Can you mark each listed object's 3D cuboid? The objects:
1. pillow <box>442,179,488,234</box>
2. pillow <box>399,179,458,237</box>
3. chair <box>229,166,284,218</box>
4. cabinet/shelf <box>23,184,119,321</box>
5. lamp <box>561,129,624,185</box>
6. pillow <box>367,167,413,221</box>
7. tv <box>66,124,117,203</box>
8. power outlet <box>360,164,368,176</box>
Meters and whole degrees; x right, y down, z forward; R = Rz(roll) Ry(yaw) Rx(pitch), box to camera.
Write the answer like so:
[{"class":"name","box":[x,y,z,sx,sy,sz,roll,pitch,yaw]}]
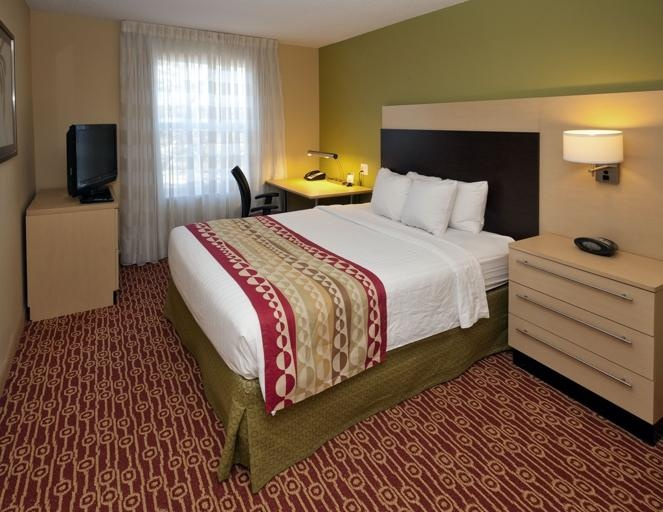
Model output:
[{"class":"pillow","box":[1.200,-0.428,4.164,0.261,0.496,0.556,-8,9,-16]},{"class":"pillow","box":[0.846,-0.454,4.166,0.276,0.543,0.592,-1,8,-25]},{"class":"chair","box":[-0.929,-0.759,5.678,0.559,0.840,0.726,-5,19,-10]},{"class":"cabinet/shelf","box":[-2.430,-0.068,4.539,0.812,1.155,1.659,-4,14,-26]},{"class":"lamp","box":[1.839,-0.673,3.233,0.322,0.411,0.354,-9,20,-4]},{"class":"pillow","box":[0.563,-0.590,4.532,0.135,0.465,0.461,7,13,-31]},{"class":"tv","box":[-2.376,-0.939,4.635,0.257,0.754,0.755,9,19,2]},{"class":"power outlet","box":[0.395,-1.070,5.715,0.016,0.160,0.111,-12,24,-37]}]
